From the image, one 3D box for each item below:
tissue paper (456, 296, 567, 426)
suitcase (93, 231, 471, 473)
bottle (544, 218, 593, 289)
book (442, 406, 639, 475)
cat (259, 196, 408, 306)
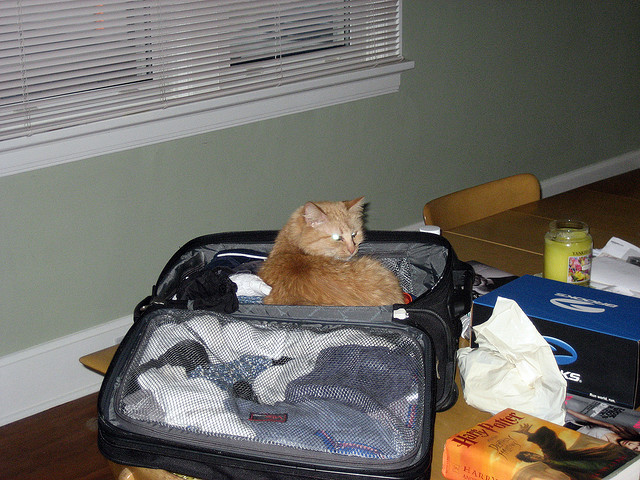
[{"bbox_3d":[0.322,0.237,1.035,0.179,0.194,0.236,-5,21,-1],"label":"tissue paper"},{"bbox_3d":[-0.044,0.182,1.163,0.670,0.319,0.635,3,14,15],"label":"suitcase"},{"bbox_3d":[0.564,0.044,1.288,0.098,0.149,0.096,-7,18,2],"label":"bottle"},{"bbox_3d":[0.332,0.291,0.862,0.153,0.035,0.152,-12,18,-39],"label":"book"},{"bbox_3d":[0.012,0.046,1.529,0.282,0.249,0.397,3,-1,-26],"label":"cat"}]
